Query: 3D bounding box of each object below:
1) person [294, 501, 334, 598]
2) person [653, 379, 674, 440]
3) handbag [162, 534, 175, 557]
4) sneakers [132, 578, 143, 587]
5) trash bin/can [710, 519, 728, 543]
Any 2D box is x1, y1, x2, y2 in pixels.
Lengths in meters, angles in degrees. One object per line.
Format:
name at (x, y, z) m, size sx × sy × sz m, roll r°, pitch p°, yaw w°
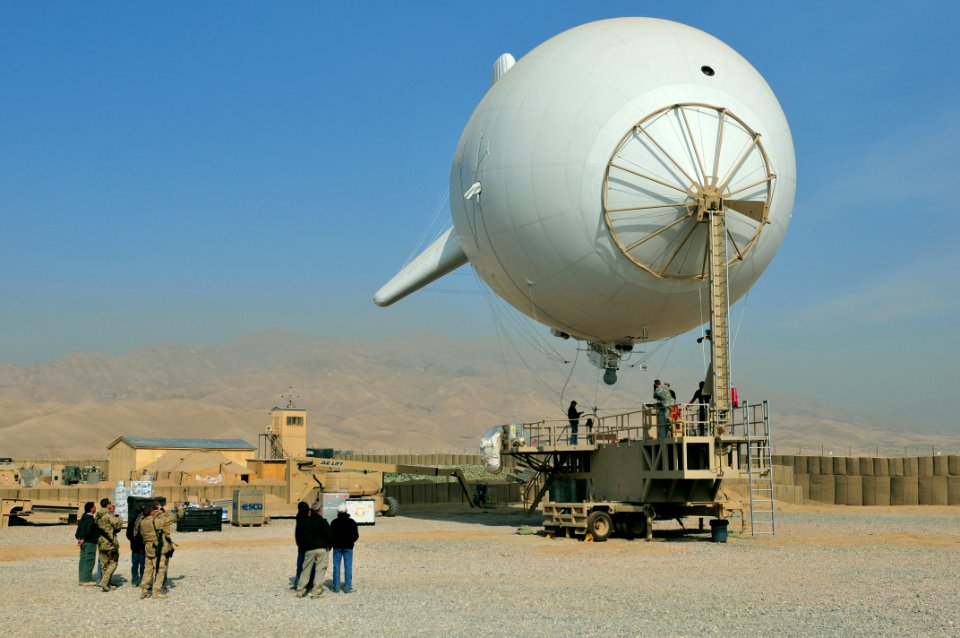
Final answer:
person at (-4.852, 6.778, 31.039) m, size 0.920 × 2.485 × 0.894 m, roll 1°, pitch 6°, yaw 26°
person at (7.045, 3.513, 41.162) m, size 0.707 × 1.989 × 1.482 m, roll -1°, pitch 6°, yaw 7°
handbag at (-9.169, 6.753, 31.710) m, size 0.230 × 0.879 × 0.879 m, roll -2°, pitch 6°, yaw -6°
sneakers at (-10.295, 7.938, 32.244) m, size 0.201 × 0.142 × 0.195 m, roll 0°, pitch -2°, yaw -16°
trash bin/can at (9.040, 7.979, 40.430) m, size 0.723 × 0.776 × 0.713 m, roll 6°, pitch -11°, yaw -29°
